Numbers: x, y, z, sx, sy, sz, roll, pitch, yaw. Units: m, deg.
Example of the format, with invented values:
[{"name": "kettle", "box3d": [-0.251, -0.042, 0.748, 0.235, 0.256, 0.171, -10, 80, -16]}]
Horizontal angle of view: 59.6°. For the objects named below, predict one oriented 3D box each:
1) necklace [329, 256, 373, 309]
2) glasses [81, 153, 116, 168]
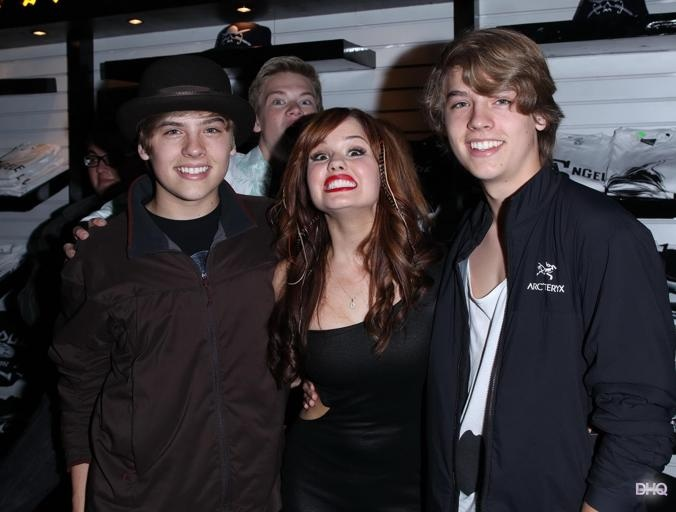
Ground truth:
[{"name": "necklace", "box3d": [0.041, 0.119, 2.581, 0.227, 0.214, 0.066, 0, -7, 5]}, {"name": "glasses", "box3d": [-1.725, -0.686, 4.282, 0.160, 0.047, 0.158, 1, 0, -2]}]
